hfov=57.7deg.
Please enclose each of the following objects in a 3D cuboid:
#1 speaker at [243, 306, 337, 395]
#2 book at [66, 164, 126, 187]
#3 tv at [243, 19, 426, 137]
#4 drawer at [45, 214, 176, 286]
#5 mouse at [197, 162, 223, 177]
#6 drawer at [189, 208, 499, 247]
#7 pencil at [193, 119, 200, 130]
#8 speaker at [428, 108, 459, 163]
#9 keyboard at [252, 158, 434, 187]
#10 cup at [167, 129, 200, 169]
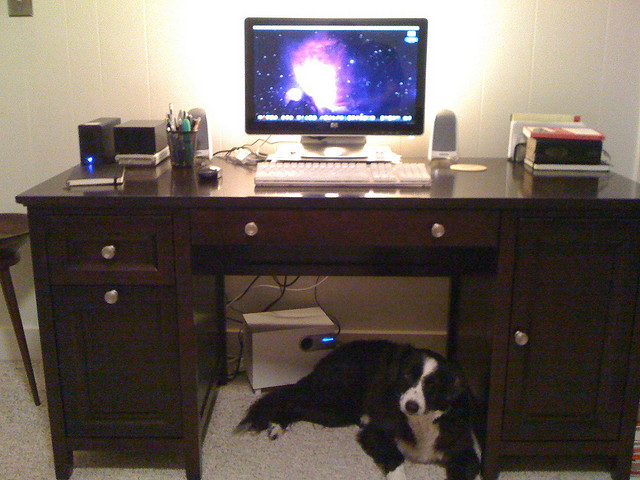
[{"bbox_3d":[-0.169,0.473,2.402,0.389,0.251,0.222,1,3,-36],"label":"speaker"},{"bbox_3d":[-0.763,-0.230,2.003,0.157,0.025,0.133,0,19,-7],"label":"book"},{"bbox_3d":[0.057,-0.613,2.126,0.566,0.281,0.036,0,13,-1],"label":"tv"},{"bbox_3d":[-0.652,0.019,1.809,0.304,0.155,0.282,0,6,-8],"label":"drawer"},{"bbox_3d":[-0.376,-0.248,1.998,0.065,0.026,0.076,2,20,0],"label":"mouse"},{"bbox_3d":[0.093,-0.025,1.903,1.039,0.164,0.176,0,8,29],"label":"drawer"},{"bbox_3d":[-0.445,-0.422,2.120,0.010,0.036,0.012,13,8,-6],"label":"pencil"},{"bbox_3d":[0.489,-0.413,2.281,0.115,0.195,0.147,4,20,12],"label":"speaker"},{"bbox_3d":[0.078,-0.234,1.988,0.596,0.068,0.286,-1,17,-1],"label":"keyboard"},{"bbox_3d":[-0.511,-0.332,2.154,0.140,0.120,0.133,-1,8,0],"label":"cup"}]
